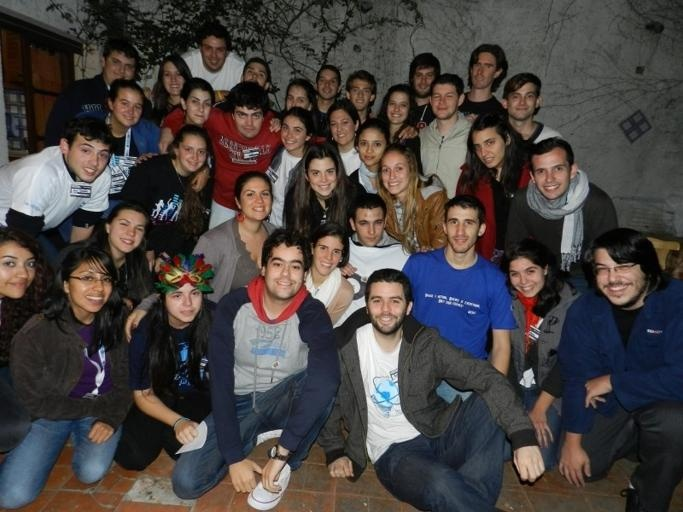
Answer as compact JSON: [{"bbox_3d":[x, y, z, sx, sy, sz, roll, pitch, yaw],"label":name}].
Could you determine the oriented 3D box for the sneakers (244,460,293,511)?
[{"bbox_3d":[-0.483,1.636,3.934,0.161,0.166,0.412,31,15,12],"label":"sneakers"}]
